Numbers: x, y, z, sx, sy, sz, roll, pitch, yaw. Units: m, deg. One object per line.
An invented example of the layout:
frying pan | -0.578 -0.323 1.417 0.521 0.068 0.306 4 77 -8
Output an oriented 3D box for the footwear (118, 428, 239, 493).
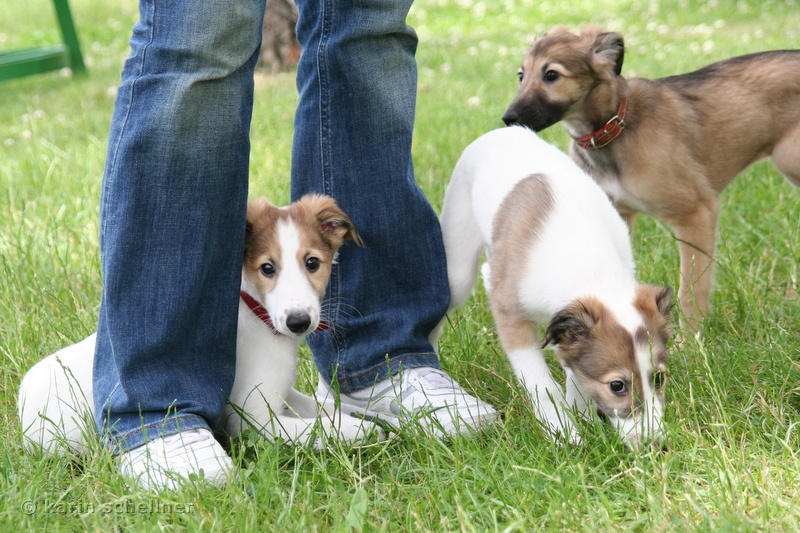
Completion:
footwear | -1.032 0.908 3.379 0.490 0.214 0.260 -1 49 -23

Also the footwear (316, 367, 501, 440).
footwear | -0.028 0.686 3.904 1.028 0.407 0.368 -2 -1 22

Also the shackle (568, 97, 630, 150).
shackle | 1.284 -0.924 4.690 0.104 0.314 0.277 22 30 -51

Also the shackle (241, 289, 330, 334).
shackle | -0.630 0.217 3.791 0.308 0.239 0.070 37 80 14
